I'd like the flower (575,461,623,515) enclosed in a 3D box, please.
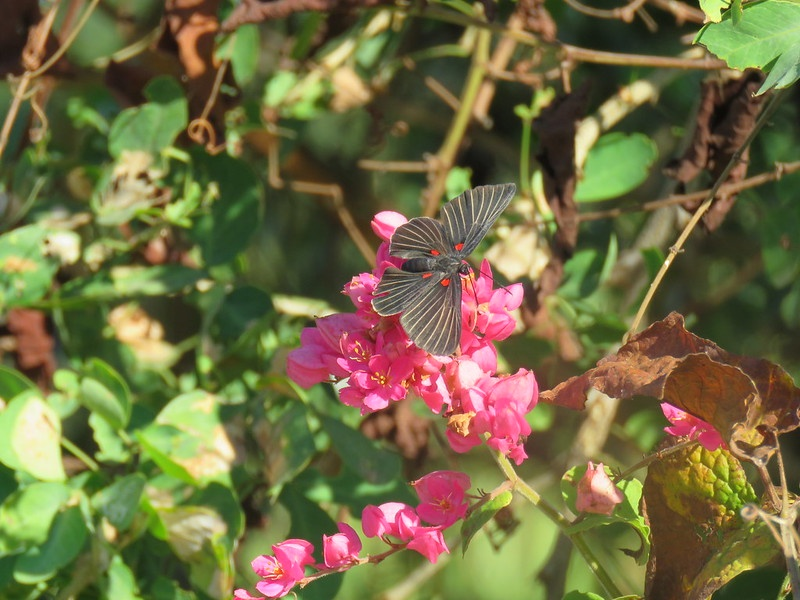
[{"bbox_3d":[0.255,0.242,1.248,0.063,0.027,0.081,0,52,28],"label":"flower"}]

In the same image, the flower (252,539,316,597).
[{"bbox_3d":[-0.152,0.365,1.320,0.080,0.040,0.073,-33,55,24],"label":"flower"}]

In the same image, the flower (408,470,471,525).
[{"bbox_3d":[0.054,0.248,1.253,0.070,0.053,0.065,14,45,26],"label":"flower"}]

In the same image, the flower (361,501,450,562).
[{"bbox_3d":[-0.014,0.301,1.276,0.061,0.038,0.062,-25,4,33],"label":"flower"}]

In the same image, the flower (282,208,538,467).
[{"bbox_3d":[0.034,0.083,1.324,0.292,0.157,0.343,7,77,10],"label":"flower"}]

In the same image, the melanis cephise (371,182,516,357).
[{"bbox_3d":[0.040,-0.077,1.293,0.143,0.298,0.070,6,44,-22],"label":"melanis cephise"}]
